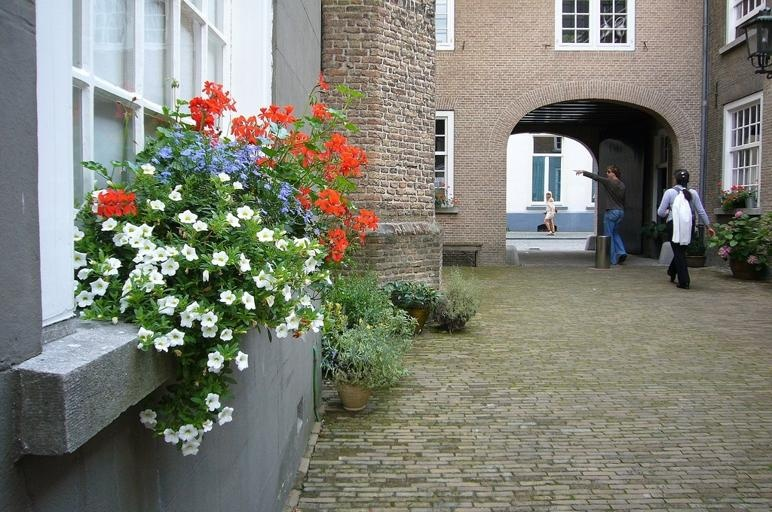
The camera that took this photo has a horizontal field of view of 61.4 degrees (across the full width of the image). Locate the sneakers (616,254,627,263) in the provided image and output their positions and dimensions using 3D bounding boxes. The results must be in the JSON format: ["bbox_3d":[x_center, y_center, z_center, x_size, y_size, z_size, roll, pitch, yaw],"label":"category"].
[{"bbox_3d":[6.115,0.065,16.881,0.166,0.209,0.540,0,9,14],"label":"sneakers"}]

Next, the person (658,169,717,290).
[{"bbox_3d":[5.415,-0.503,11.842,0.823,2.141,1.088,1,5,23],"label":"person"}]

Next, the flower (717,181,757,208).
[{"bbox_3d":[7.894,-1.397,14.637,0.549,0.382,0.546,0,-3,10],"label":"flower"}]

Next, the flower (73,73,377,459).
[{"bbox_3d":[-0.644,-0.024,2.579,0.833,1.428,1.413,-1,5,5],"label":"flower"}]

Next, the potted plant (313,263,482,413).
[{"bbox_3d":[-0.123,0.692,5.930,1.135,0.735,1.471,2,7,6],"label":"potted plant"}]

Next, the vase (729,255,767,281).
[{"bbox_3d":[7.253,0.246,12.999,0.537,0.339,0.532,2,-4,5],"label":"vase"}]

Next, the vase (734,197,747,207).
[{"bbox_3d":[7.913,-1.203,14.489,0.222,0.201,0.122,1,5,26],"label":"vase"}]
